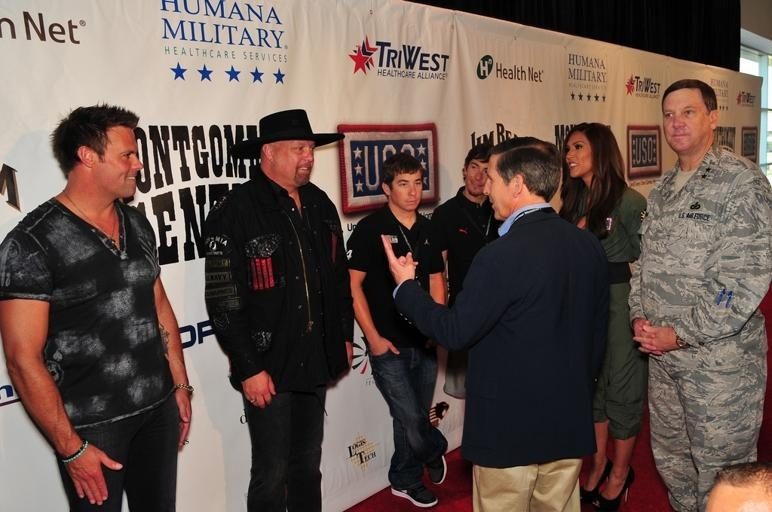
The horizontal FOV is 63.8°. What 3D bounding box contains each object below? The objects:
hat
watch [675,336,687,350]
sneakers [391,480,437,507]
[{"bbox_3d":[-0.612,-0.767,3.794,0.699,0.232,0.637,-9,7,4],"label":"hat"},{"bbox_3d":[1.705,0.496,3.574,0.059,0.081,0.047,0,8,27],"label":"watch"},{"bbox_3d":[0.193,1.607,4.285,0.307,0.138,0.131,0,2,40],"label":"sneakers"}]
